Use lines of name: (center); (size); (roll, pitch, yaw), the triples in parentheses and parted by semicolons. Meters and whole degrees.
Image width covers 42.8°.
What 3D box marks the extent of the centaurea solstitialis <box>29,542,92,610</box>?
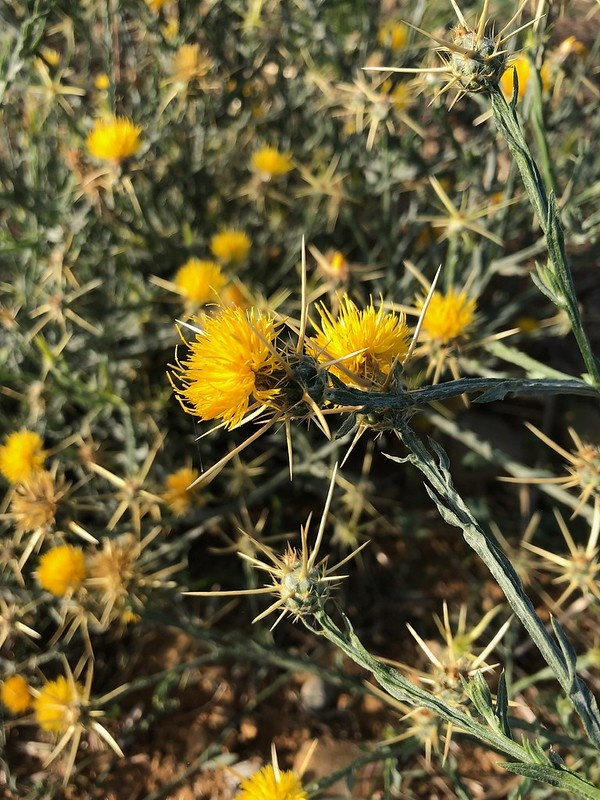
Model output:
centaurea solstitialis: (-0.555, 0.401, 1.801); (0.132, 0.130, 0.118); (2, 49, 37)

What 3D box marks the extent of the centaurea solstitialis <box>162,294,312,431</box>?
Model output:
centaurea solstitialis: (-0.029, -0.053, 1.270); (0.198, 0.200, 0.191); (41, 107, 28)

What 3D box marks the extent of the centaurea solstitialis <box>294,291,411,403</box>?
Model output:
centaurea solstitialis: (0.104, -0.095, 1.293); (0.161, 0.213, 0.162); (18, 85, 5)

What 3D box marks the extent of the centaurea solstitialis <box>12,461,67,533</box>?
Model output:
centaurea solstitialis: (-0.616, 0.232, 1.803); (0.118, 0.127, 0.119); (-49, 37, -1)
